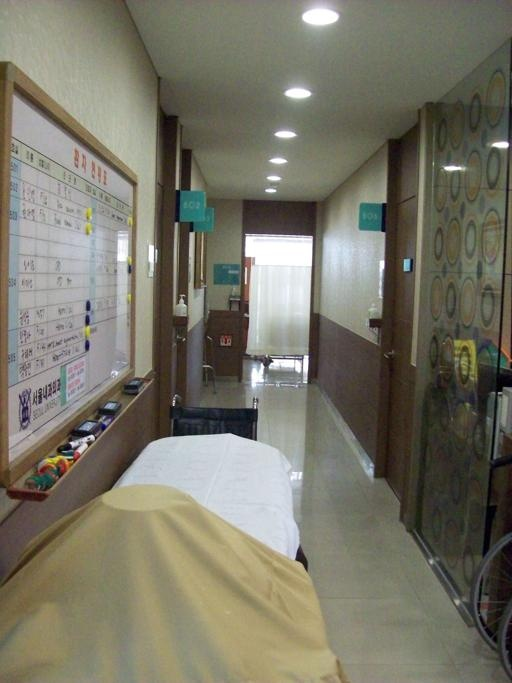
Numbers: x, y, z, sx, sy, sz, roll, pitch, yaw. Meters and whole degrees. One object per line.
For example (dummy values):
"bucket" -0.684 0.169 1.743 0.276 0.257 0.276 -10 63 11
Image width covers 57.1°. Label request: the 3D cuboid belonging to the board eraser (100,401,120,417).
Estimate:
"board eraser" -0.542 0.242 1.753 0.028 0.024 0.067 4 21 0
